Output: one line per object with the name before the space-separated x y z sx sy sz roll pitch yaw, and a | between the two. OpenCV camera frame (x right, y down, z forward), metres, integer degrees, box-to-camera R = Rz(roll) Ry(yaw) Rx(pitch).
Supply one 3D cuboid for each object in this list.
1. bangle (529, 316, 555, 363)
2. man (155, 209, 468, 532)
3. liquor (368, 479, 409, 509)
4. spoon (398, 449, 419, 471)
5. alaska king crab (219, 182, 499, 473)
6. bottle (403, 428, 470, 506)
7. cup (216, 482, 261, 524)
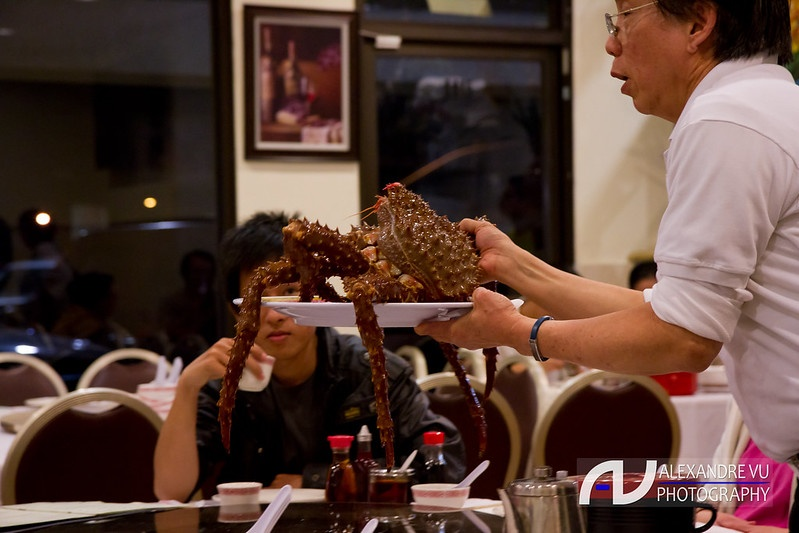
bangle | 0.315 0.173 1.775 0.027 0.087 0.091 0 4 30
man | -0.391 0.406 2.613 0.847 1.051 0.383 2 -7 -4
liquor | -0.031 0.600 2.037 0.077 0.074 0.078 9 -10 -38
spoon | 0.014 0.565 2.161 0.018 0.141 0.022 -9 53 -34
alaska king crab | -0.039 0.108 1.973 0.737 0.625 0.951 9 8 2
bottle | 0.099 0.557 2.058 0.175 0.220 0.166 -4 -10 -1
cup | -0.422 0.621 2.006 0.119 0.090 0.122 0 -10 0
